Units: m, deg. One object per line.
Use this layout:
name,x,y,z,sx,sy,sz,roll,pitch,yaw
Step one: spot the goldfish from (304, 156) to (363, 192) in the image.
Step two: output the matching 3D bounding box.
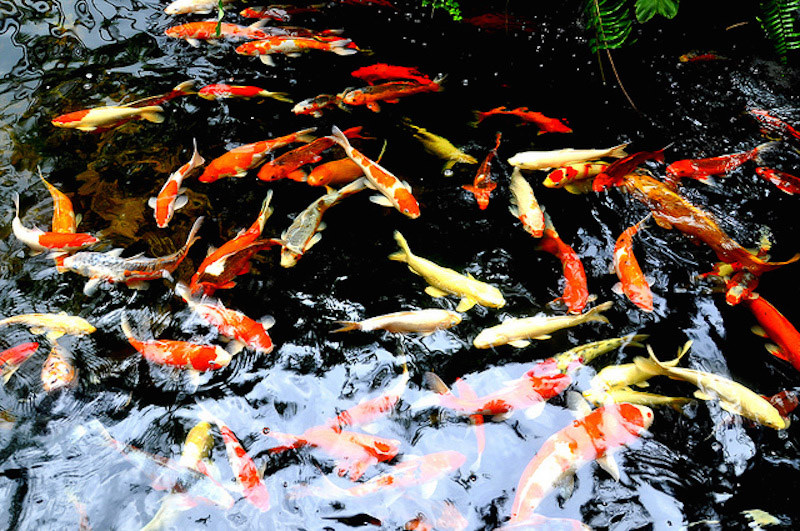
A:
goldfish,-0.554,-0.788,6.630,0.619,0.249,0.175,-7,90,-13

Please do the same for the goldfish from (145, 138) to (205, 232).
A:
goldfish,-1.856,-0.678,6.555,0.336,0.314,0.714,22,77,-4

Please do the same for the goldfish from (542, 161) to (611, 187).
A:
goldfish,1.492,-0.786,6.634,0.697,0.228,0.165,-10,72,-3

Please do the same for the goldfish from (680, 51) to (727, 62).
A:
goldfish,2.948,-2.024,7.517,0.432,0.078,0.106,-5,82,-14

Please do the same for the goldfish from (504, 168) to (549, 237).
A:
goldfish,1.040,-0.530,6.541,0.223,0.249,0.585,6,40,-33

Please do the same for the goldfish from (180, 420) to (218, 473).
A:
goldfish,-1.465,1.324,5.692,0.211,0.109,0.317,13,58,2

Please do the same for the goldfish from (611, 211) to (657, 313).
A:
goldfish,1.881,0.005,6.311,0.327,0.256,0.691,-6,56,10

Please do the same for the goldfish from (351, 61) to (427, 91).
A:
goldfish,0.028,-1.793,7.358,0.935,0.230,0.247,4,102,3

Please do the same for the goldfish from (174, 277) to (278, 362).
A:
goldfish,-1.347,0.419,6.130,0.763,0.287,0.354,30,86,6

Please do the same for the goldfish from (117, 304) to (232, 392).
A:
goldfish,-1.736,0.675,5.971,0.989,0.272,0.379,11,34,14

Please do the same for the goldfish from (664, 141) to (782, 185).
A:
goldfish,2.843,-0.860,6.780,0.940,0.346,0.196,-16,23,-3

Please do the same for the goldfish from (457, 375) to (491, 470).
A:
goldfish,0.524,1.159,5.795,0.283,0.152,0.650,-17,83,0

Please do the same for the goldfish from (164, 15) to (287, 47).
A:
goldfish,-1.718,-2.297,7.578,1.191,0.199,0.320,-2,45,-3

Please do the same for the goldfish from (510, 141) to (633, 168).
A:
goldfish,1.528,-0.969,6.787,0.907,0.214,0.132,-4,60,0

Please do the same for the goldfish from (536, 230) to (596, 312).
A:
goldfish,1.362,0.031,6.238,0.257,0.284,0.676,-32,35,19

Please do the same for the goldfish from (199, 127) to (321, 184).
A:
goldfish,-1.205,-0.983,6.804,1.111,0.262,0.170,-29,48,-26

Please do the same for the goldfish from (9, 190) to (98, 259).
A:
goldfish,-2.809,-0.244,6.221,0.539,0.150,0.347,4,40,3

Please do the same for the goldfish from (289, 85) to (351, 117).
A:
goldfish,-0.725,-1.517,7.126,0.505,0.147,0.212,-15,52,-14

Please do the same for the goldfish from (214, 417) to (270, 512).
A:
goldfish,-1.234,1.436,5.615,0.211,0.317,0.774,-39,58,-14

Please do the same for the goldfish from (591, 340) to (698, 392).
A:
goldfish,1.812,0.833,5.894,0.801,0.337,0.216,-14,22,17

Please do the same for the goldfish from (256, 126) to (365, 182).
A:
goldfish,-0.793,-0.944,6.866,0.813,0.232,0.283,-33,69,-12

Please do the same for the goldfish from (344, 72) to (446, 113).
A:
goldfish,-0.071,-1.623,7.328,1.199,0.308,0.261,-6,67,-7

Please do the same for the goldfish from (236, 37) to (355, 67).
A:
goldfish,-1.029,-2.080,7.646,1.231,0.240,0.331,-1,68,-4

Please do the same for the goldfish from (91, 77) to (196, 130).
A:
goldfish,-2.329,-1.458,7.061,0.956,0.177,0.334,-19,67,3

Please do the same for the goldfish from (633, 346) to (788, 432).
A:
goldfish,2.351,0.948,5.857,1.110,0.266,0.181,20,48,10

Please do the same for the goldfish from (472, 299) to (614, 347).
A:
goldfish,1.131,0.457,6.084,0.881,0.178,0.185,-9,50,-6

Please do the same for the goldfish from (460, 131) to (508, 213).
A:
goldfish,0.741,-0.785,6.852,0.282,0.207,0.579,4,66,7

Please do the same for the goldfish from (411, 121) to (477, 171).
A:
goldfish,0.316,-1.045,6.926,0.820,0.185,0.284,20,71,-31
